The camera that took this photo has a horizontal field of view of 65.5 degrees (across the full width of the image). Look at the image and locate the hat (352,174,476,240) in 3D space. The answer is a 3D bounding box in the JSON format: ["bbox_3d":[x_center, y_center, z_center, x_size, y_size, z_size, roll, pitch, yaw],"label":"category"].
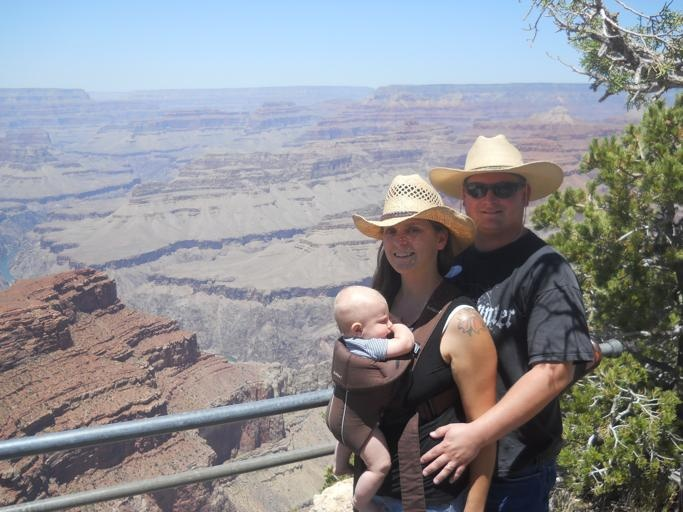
[{"bbox_3d":[0.371,-0.161,2.513,0.398,0.195,0.456,-8,-18,20],"label":"hat"}]

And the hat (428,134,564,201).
[{"bbox_3d":[0.860,-0.468,2.794,0.512,0.188,0.509,-3,-13,13],"label":"hat"}]

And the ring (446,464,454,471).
[{"bbox_3d":[0.454,0.886,2.229,0.031,0.032,0.008,35,27,-16],"label":"ring"}]
